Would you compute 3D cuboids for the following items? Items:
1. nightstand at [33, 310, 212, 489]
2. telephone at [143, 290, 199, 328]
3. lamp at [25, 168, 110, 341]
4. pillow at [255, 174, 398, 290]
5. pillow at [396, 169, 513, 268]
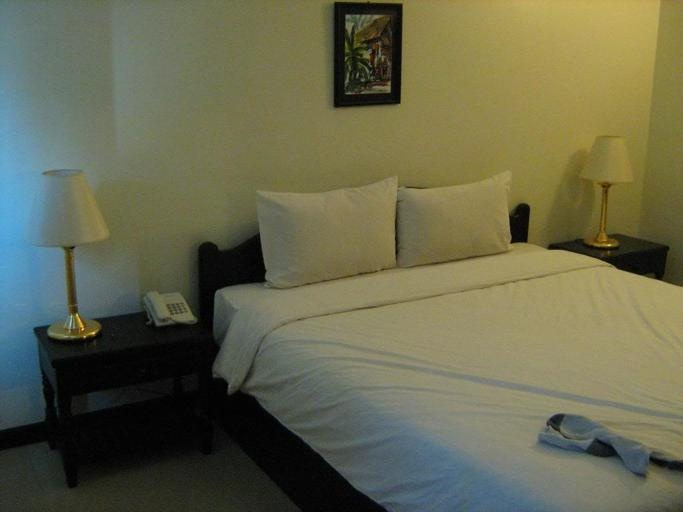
[{"bbox_3d":[-1.051,0.711,2.837,0.728,0.605,0.498,-5,5,-34],"label":"nightstand"},{"bbox_3d":[-0.866,0.256,2.881,0.215,0.066,0.273,-8,33,-40],"label":"telephone"},{"bbox_3d":[-1.271,-0.013,2.689,0.327,0.774,0.301,-10,16,-29],"label":"lamp"},{"bbox_3d":[-0.035,-0.151,3.172,0.834,0.533,0.289,-10,29,-21],"label":"pillow"},{"bbox_3d":[0.683,-0.223,3.426,0.771,0.515,0.225,-7,5,-17],"label":"pillow"}]
